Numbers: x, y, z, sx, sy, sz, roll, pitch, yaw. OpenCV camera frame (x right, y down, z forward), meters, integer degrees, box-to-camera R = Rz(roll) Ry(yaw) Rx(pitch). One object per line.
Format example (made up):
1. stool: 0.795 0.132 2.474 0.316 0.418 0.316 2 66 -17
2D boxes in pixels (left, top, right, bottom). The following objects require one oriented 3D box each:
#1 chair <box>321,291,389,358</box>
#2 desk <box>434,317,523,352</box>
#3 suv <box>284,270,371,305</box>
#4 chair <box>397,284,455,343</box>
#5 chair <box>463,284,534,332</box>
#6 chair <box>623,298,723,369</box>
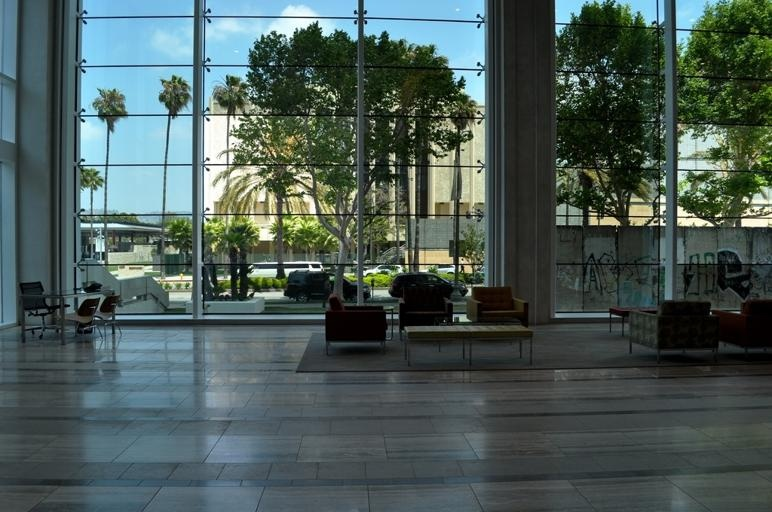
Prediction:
1. chair: -0.622 1.441 15.507 1.580 1.036 1.634 1 2 -15
2. desk: 1.858 1.683 14.432 1.981 0.566 0.895 0 9 -1
3. suv: -1.541 0.810 18.684 2.096 0.693 0.893 -1 2 -2
4. chair: 0.923 1.293 16.682 1.358 1.085 1.255 -1 -1 8
5. chair: 2.614 1.191 16.861 1.534 0.840 1.522 1 4 19
6. chair: 5.825 1.530 14.634 1.513 1.156 1.328 0 2 -3
